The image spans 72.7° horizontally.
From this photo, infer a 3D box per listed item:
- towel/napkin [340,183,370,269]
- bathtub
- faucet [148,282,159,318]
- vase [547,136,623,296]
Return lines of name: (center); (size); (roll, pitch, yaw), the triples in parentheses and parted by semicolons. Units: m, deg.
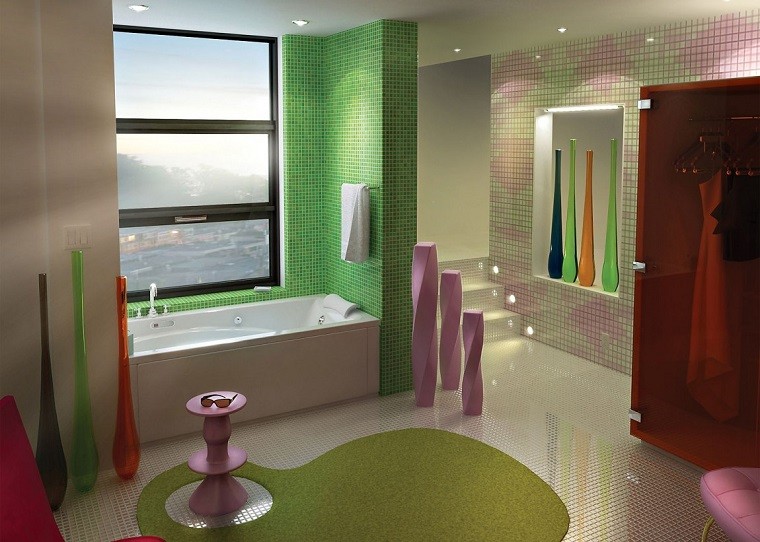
towel/napkin: (-0.264, -0.455, 4.903); (0.199, 0.735, 0.373); (-12, 17, -40)
bathtub: (-1.181, 0.504, 4.824); (2.088, 0.475, 1.139); (-7, 15, -26)
faucet: (-2.213, 0.253, 5.046); (0.081, 0.288, 0.367); (-5, 14, -19)
vase: (2.327, -0.648, 5.694); (0.961, 1.546, 0.752); (12, 18, 42)
